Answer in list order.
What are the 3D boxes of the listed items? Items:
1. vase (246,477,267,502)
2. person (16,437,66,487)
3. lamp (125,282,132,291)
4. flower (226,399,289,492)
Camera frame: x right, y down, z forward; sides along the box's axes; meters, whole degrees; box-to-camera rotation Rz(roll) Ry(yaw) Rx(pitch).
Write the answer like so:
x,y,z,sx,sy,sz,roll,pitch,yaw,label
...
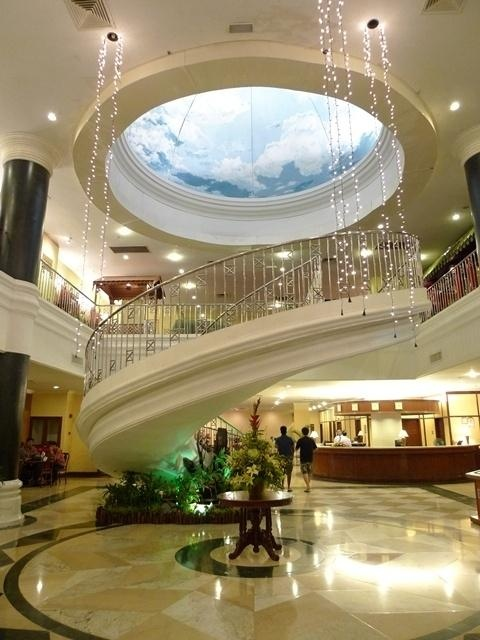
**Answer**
x,y,z,sx,sy,sz,roll,pitch,yaw,label
0.178,1.621,3.856,0.175,0.213,0.194,-2,-19,10,vase
-5.079,3.770,10.498,1.428,0.770,1.488,5,-18,-19,person
-4.086,-1.290,15.129,0.180,0.221,0.183,10,-18,-34,lamp
0.182,1.259,4.060,0.439,0.719,0.495,-4,2,17,flower
